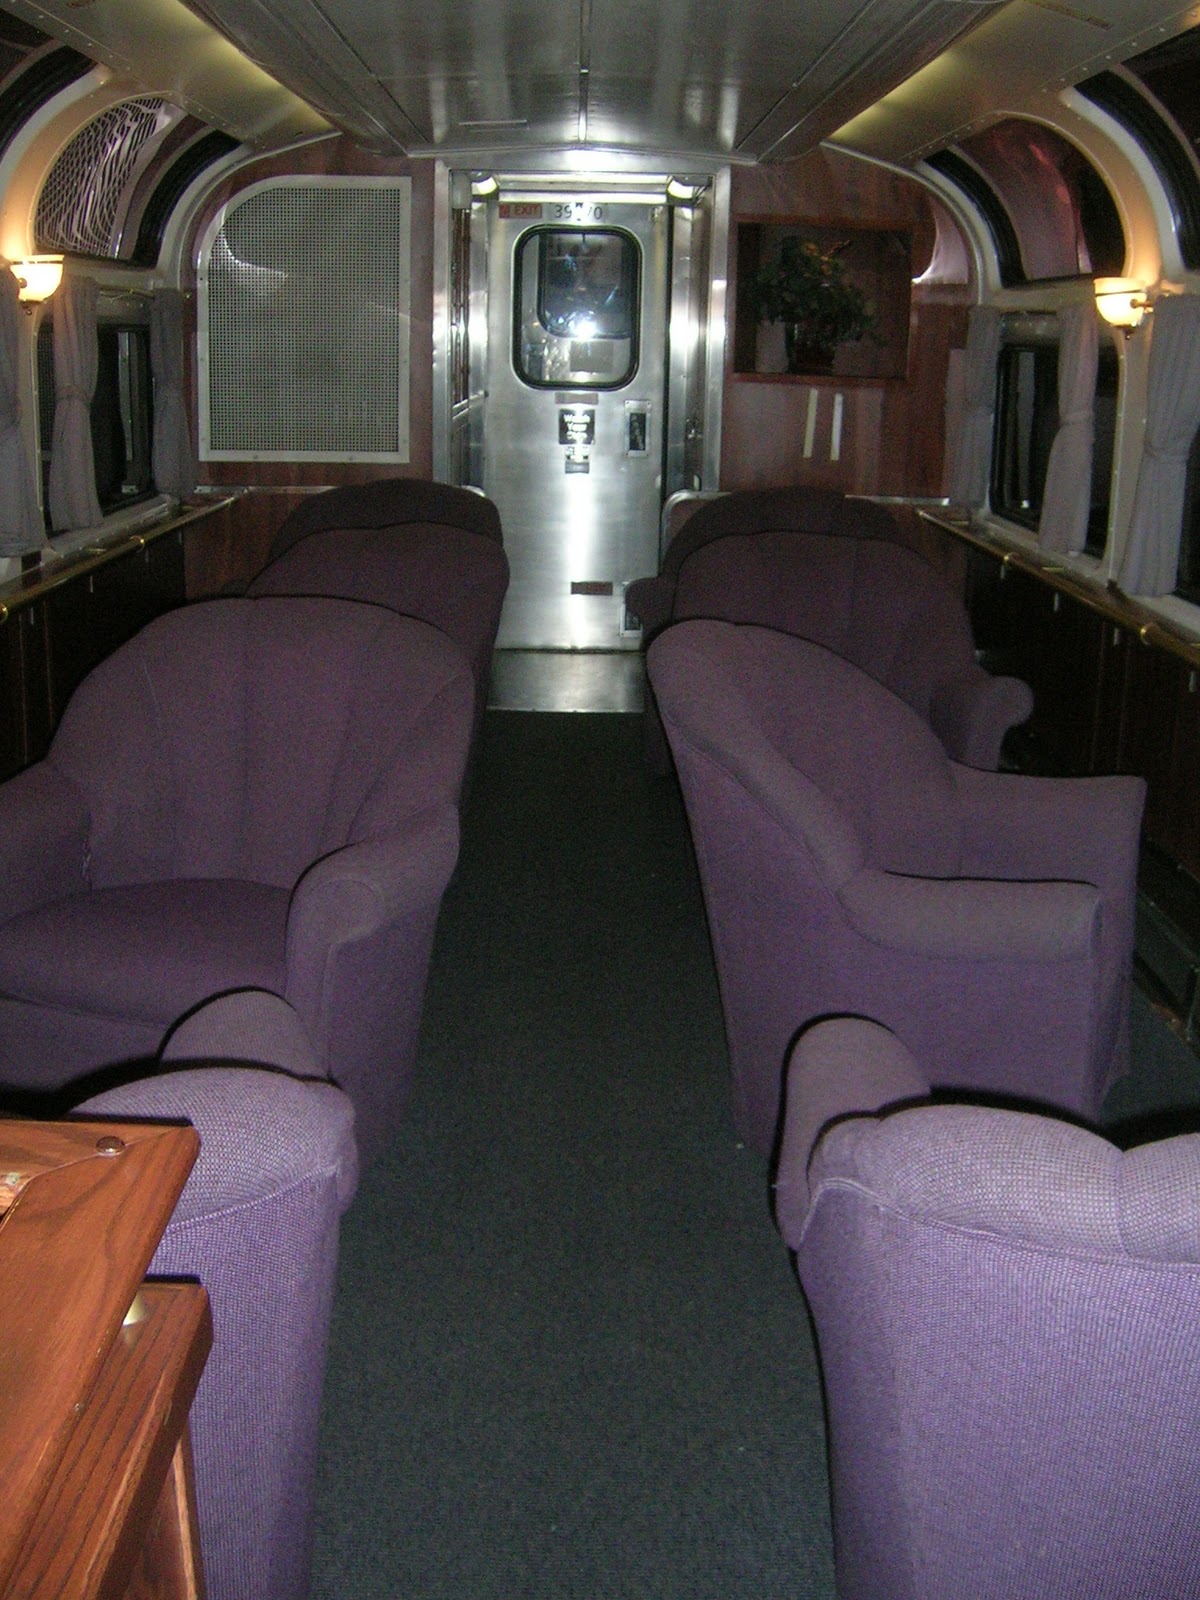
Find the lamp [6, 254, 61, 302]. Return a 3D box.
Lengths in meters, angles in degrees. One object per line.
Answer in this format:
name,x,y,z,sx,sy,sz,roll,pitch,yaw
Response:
lamp,-2.113,-1.940,4.418,0.163,0.181,0.138,1,-72,-1

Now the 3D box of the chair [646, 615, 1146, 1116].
chair,0.686,0.183,2.430,0.992,0.887,1.041,-4,-72,8

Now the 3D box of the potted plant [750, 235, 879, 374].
potted plant,1.235,-2.743,6.751,0.528,0.631,0.780,2,-69,2

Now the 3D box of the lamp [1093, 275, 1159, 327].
lamp,2.055,-1.927,4.623,0.170,0.207,0.163,-4,-72,-4
